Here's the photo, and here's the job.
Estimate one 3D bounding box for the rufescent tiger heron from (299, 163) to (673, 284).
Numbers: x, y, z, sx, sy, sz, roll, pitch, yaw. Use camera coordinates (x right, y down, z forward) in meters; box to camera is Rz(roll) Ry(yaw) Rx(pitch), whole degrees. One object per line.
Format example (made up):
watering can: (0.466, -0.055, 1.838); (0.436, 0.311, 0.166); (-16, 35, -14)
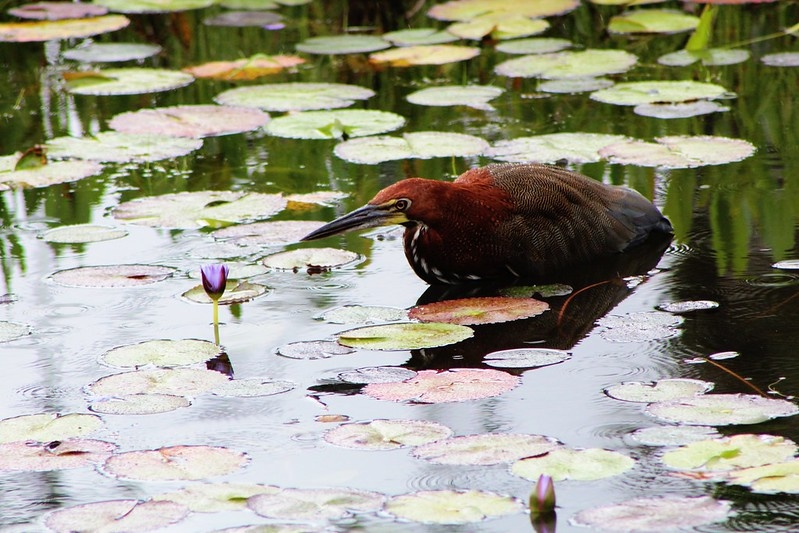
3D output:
rufescent tiger heron: (0.695, -0.282, 6.203); (2.687, 0.700, 0.989); (-16, 20, -34)

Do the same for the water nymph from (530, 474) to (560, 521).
water nymph: (0.594, 0.951, 3.757); (0.117, 0.227, 0.123); (-4, 20, 7)
